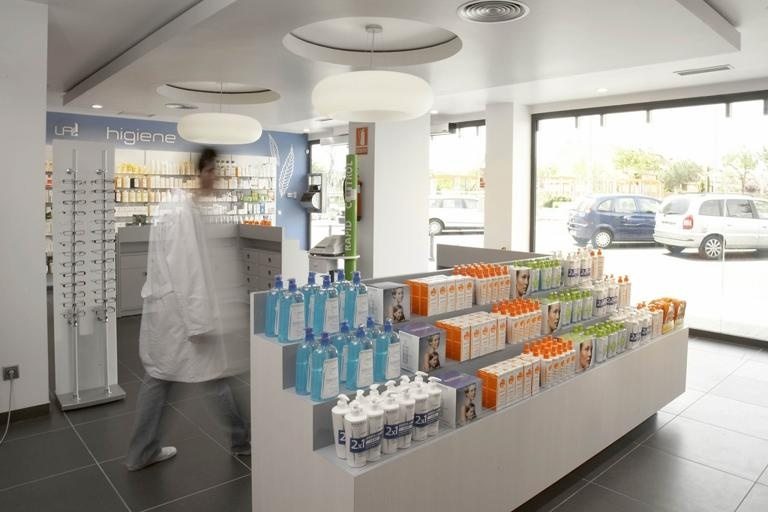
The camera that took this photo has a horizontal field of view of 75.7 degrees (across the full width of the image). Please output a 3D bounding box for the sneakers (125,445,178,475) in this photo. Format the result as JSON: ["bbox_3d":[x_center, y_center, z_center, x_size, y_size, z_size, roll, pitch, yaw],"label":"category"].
[{"bbox_3d":[-2.123,1.820,4.507,0.137,0.167,0.409,17,22,34],"label":"sneakers"}]

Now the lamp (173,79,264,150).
[{"bbox_3d":[-2.062,-1.563,6.231,0.811,0.875,0.820,6,-8,-43],"label":"lamp"}]

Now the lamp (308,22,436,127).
[{"bbox_3d":[-0.184,-1.867,4.817,0.981,1.100,1.056,-6,9,-38],"label":"lamp"}]
